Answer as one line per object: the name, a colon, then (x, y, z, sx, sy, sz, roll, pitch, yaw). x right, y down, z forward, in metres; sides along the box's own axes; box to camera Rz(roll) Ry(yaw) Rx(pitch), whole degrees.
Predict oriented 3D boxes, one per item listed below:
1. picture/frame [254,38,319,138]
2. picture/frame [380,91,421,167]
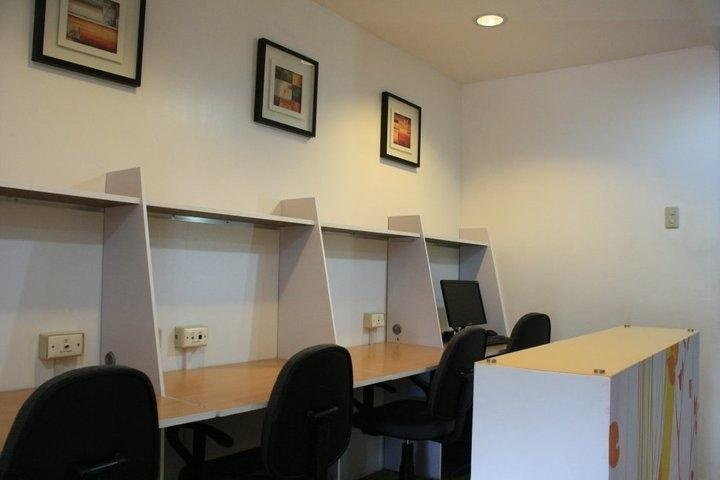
picture/frame: (-0.515, -1.024, 3.575, 0.073, 0.695, 0.703, -2, -4, 37)
picture/frame: (0.322, -0.926, 4.410, 0.063, 0.613, 0.614, -5, -9, 40)
